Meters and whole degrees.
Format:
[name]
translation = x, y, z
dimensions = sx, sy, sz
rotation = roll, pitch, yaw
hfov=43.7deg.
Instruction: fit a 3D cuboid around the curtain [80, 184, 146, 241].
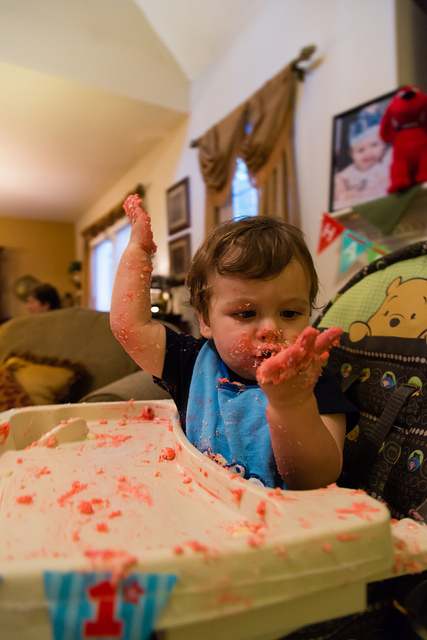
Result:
[curtain]
translation = -1.102, -0.958, 5.298
dimensions = 0.050, 0.298, 1.241
rotation = -8, 4, -28
